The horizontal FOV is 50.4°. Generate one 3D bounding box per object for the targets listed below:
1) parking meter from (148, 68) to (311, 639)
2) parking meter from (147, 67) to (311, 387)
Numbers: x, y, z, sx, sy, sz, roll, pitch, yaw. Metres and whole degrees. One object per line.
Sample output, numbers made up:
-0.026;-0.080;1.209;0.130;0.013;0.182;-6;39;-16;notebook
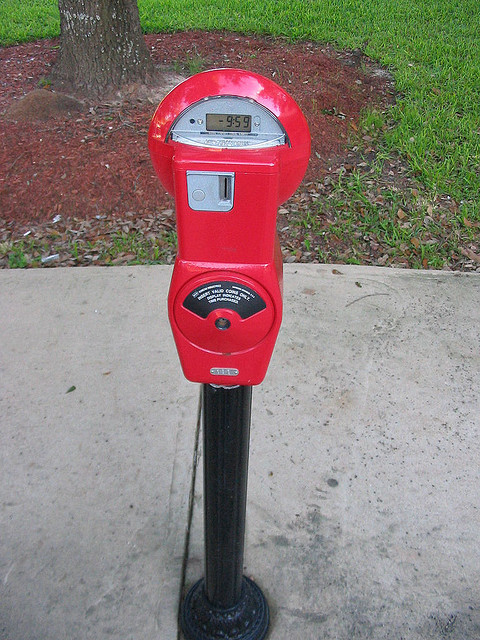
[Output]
-0.037;0.244;1.285;0.343;1.521;0.431;3;33;7;parking meter
0.006;-0.180;1.057;0.344;0.565;0.445;-7;34;-9;parking meter
